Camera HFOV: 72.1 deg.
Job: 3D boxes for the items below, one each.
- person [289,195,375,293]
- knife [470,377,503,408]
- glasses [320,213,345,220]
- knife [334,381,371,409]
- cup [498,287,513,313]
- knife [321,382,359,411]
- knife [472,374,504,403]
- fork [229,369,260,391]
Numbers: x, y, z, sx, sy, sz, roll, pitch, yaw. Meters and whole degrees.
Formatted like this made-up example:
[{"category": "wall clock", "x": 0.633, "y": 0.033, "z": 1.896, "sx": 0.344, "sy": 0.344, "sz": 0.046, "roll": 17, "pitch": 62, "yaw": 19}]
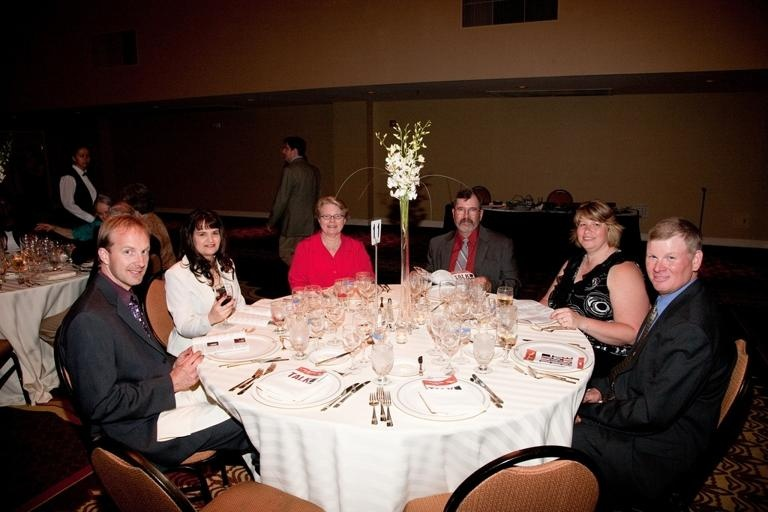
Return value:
[{"category": "person", "x": -0.505, "y": -0.131, "z": 4.898, "sx": 0.759, "sy": 0.810, "sz": 0.336, "roll": -2, "pitch": 12, "yaw": -12}, {"category": "knife", "x": 0.644, "y": 0.849, "z": 3.291, "sx": 0.074, "sy": 0.013, "sz": 0.262, "roll": -4, "pitch": 15, "yaw": -19}, {"category": "glasses", "x": -0.469, "y": -0.355, "z": 4.854, "sx": 0.218, "sy": 0.048, "sz": 0.072, "roll": -4, "pitch": 13, "yaw": -24}, {"category": "knife", "x": -0.189, "y": 0.846, "z": 3.281, "sx": 0.067, "sy": 0.022, "sz": 0.403, "roll": 10, "pitch": 25, "yaw": 28}, {"category": "cup", "x": 0.913, "y": 0.309, "z": 3.873, "sx": 0.134, "sy": 0.226, "sz": 0.140, "roll": 1, "pitch": -4, "yaw": 0}, {"category": "knife", "x": -0.265, "y": 0.870, "z": 3.231, "sx": 0.064, "sy": 0.036, "sz": 0.480, "roll": 6, "pitch": 16, "yaw": 18}, {"category": "knife", "x": 0.640, "y": 0.833, "z": 3.299, "sx": 0.068, "sy": 0.016, "sz": 0.288, "roll": -1, "pitch": 13, "yaw": -21}, {"category": "fork", "x": -0.891, "y": 0.799, "z": 3.359, "sx": 0.030, "sy": 0.033, "sz": 0.217, "roll": 19, "pitch": 21, "yaw": 13}]
